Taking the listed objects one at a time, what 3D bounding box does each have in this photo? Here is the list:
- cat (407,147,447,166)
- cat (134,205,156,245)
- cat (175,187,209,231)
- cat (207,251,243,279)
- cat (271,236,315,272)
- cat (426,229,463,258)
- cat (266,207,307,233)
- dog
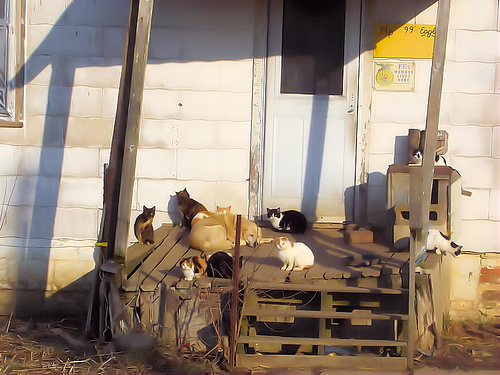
[{"bbox_3d":[2.414,-0.388,6.853,0.759,0.226,0.393,6,-4,-39],"label":"cat"},{"bbox_3d":[-1.334,0.462,6.439,0.218,0.491,0.448,3,6,-24],"label":"cat"},{"bbox_3d":[-0.921,0.267,7.177,0.288,0.582,0.926,-14,1,-10],"label":"cat"},{"bbox_3d":[-0.331,0.860,5.585,0.208,0.322,0.106,15,7,9],"label":"cat"},{"bbox_3d":[0.525,0.746,5.835,0.405,0.401,0.315,-3,-2,-6],"label":"cat"},{"bbox_3d":[2.230,0.648,5.885,0.384,0.287,0.235,3,-2,12],"label":"cat"},{"bbox_3d":[0.501,0.456,6.792,0.441,0.322,0.301,5,-6,-2],"label":"cat"},{"bbox_3d":[-0.294,0.603,6.244,0.715,0.320,0.495,0,12,1],"label":"dog"}]
